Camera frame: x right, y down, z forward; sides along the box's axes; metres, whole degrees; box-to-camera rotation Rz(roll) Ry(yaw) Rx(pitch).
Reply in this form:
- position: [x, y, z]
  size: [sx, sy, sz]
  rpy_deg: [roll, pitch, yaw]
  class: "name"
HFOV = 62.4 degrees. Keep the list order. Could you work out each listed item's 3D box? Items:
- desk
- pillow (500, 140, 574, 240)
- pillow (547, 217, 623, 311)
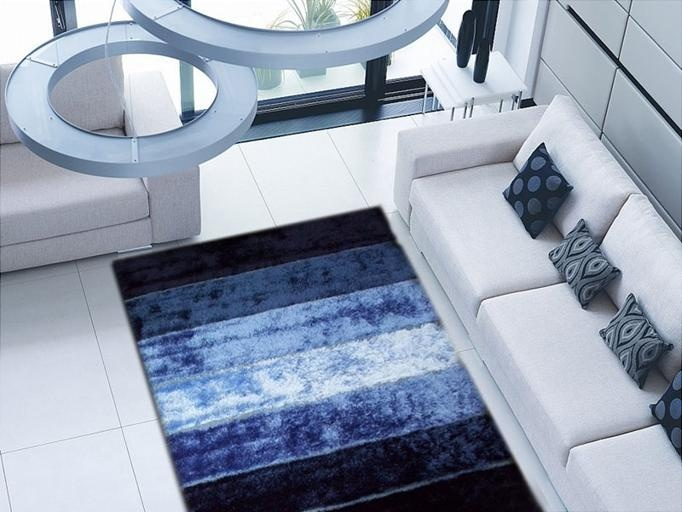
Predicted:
- position: [1.097, -1.536, 4.862]
  size: [0.763, 0.759, 0.607]
  rpy_deg: [-14, -33, -11]
  class: "desk"
- position: [1.365, -0.438, 3.865]
  size: [0.319, 0.579, 0.407]
  rpy_deg: [-14, -37, -5]
  class: "pillow"
- position: [1.556, 0.067, 3.546]
  size: [0.233, 0.544, 0.235]
  rpy_deg: [-16, -39, -5]
  class: "pillow"
